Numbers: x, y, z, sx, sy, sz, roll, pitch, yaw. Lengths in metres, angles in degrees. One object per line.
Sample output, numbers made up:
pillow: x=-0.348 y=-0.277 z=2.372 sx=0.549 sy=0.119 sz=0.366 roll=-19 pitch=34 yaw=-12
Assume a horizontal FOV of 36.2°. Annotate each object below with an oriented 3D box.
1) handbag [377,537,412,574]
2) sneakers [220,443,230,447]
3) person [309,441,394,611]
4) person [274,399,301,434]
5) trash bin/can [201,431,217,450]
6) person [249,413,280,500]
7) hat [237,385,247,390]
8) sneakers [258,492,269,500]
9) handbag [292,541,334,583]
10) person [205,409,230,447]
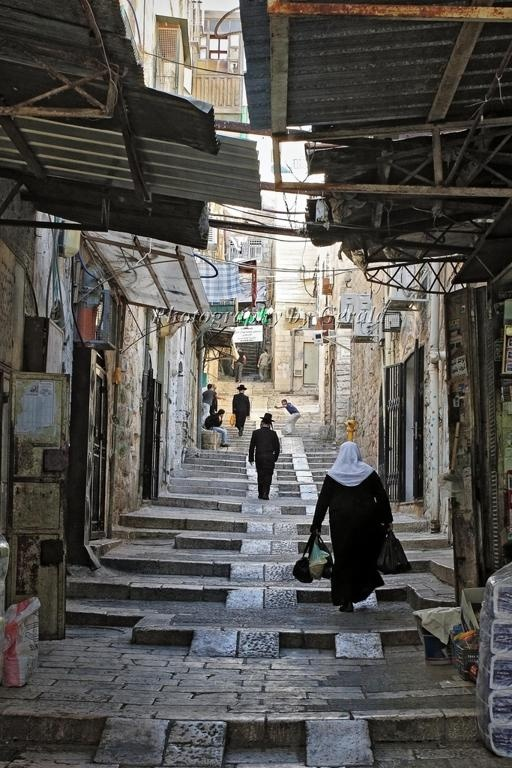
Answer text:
handbag: x=1.033 y=1.286 z=5.908 sx=0.232 sy=0.295 sz=0.273 roll=0 pitch=-6 yaw=11
sneakers: x=-0.880 y=1.755 z=22.087 sx=0.226 sy=0.088 sz=0.161 roll=-1 pitch=4 yaw=-15
person: x=0.753 y=1.113 z=6.199 sx=0.608 sy=1.278 sz=0.357 roll=0 pitch=-6 yaw=10
person: x=1.053 y=1.111 z=24.809 sx=0.884 sy=1.444 sz=0.575 roll=2 pitch=-19 yaw=-1
trash bin/can: x=-1.288 y=1.565 z=21.587 sx=0.368 sy=0.555 sz=0.526 roll=0 pitch=-3 yaw=5
person: x=0.130 y=1.249 z=13.495 sx=0.518 sy=1.497 sz=0.814 roll=1 pitch=-6 yaw=-1
hat: x=-0.485 y=0.121 z=26.481 sx=0.242 sy=0.118 sz=0.282 roll=8 pitch=-10 yaw=6
sneakers: x=0.130 y=1.926 z=13.414 sx=0.140 sy=0.157 sz=0.088 roll=1 pitch=-1 yaw=20
handbag: x=0.443 y=1.368 z=6.064 sx=0.281 sy=0.363 sz=0.294 roll=-1 pitch=-6 yaw=14
person: x=-1.130 y=1.288 z=22.714 sx=0.867 sy=1.375 sz=0.705 roll=0 pitch=-1 yaw=-7
